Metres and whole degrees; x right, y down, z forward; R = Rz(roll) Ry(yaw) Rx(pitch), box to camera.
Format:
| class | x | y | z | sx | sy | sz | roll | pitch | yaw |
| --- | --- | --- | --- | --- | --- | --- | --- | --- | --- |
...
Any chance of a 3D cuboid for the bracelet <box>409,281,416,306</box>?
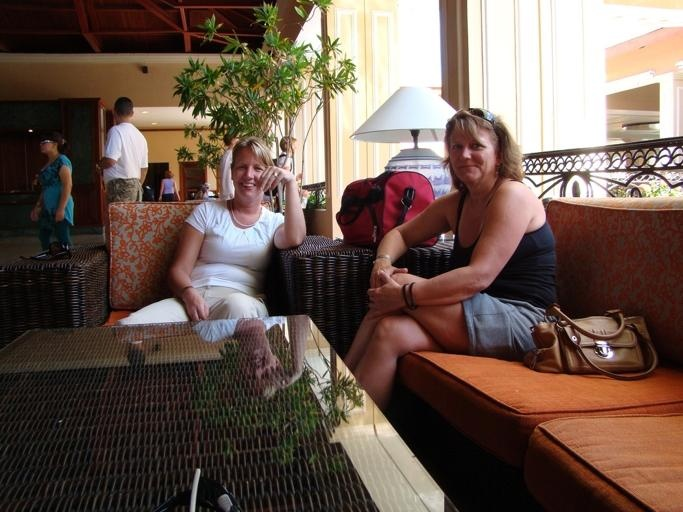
| class | x | y | z | sx | sy | sz | roll | pitch | yaw |
| --- | --- | --- | --- | --- | --- | --- | --- | --- | --- |
| bracelet | 0.246 | 0.144 | 1.629 | 0.021 | 0.062 | 0.053 | 3 | 1 | 11 |

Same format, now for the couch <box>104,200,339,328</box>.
| class | x | y | z | sx | sy | sz | roll | pitch | yaw |
| --- | --- | --- | --- | --- | --- | --- | --- | --- | --- |
| couch | -0.477 | 0.070 | 2.172 | 0.581 | 0.873 | 0.679 | 5 | -14 | 11 |

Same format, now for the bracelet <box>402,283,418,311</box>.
| class | x | y | z | sx | sy | sz | roll | pitch | yaw |
| --- | --- | --- | --- | --- | --- | --- | --- | --- | --- |
| bracelet | 0.231 | 0.140 | 1.640 | 0.028 | 0.078 | 0.073 | -5 | 43 | 0 |

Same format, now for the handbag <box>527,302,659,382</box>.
| class | x | y | z | sx | sy | sz | roll | pitch | yaw |
| --- | --- | --- | --- | --- | --- | --- | --- | --- | --- |
| handbag | 0.742 | 0.262 | 1.346 | 0.290 | 0.187 | 0.201 | 0 | 1 | -2 |

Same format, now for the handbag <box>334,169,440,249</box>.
| class | x | y | z | sx | sy | sz | roll | pitch | yaw |
| --- | --- | --- | --- | --- | --- | --- | --- | --- | --- |
| handbag | 0.214 | -0.211 | 2.180 | 0.355 | 0.334 | 0.450 | 3 | 0 | -24 |

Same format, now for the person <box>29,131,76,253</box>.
| class | x | y | z | sx | sy | sz | roll | pitch | yaw |
| --- | --- | --- | --- | --- | --- | --- | --- | --- | --- |
| person | -2.740 | -0.586 | 4.343 | 0.360 | 1.094 | 0.648 | -7 | 12 | -33 |

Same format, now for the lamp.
| class | x | y | z | sx | sy | sz | roll | pitch | yaw |
| --- | --- | --- | --- | --- | --- | --- | --- | --- | --- |
| lamp | 0.321 | -0.537 | 2.509 | 0.654 | 0.680 | 0.676 | 1 | -3 | -6 |
